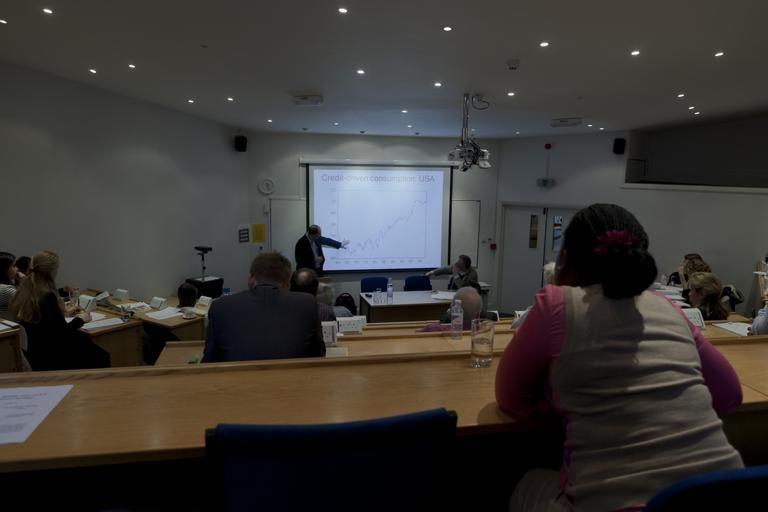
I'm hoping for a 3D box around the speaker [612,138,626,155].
[{"bbox_3d":[3.717,-1.733,7.655,0.169,0.246,0.081,3,1,33],"label":"speaker"}]

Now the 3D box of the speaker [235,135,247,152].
[{"bbox_3d":[-2.484,-1.945,8.378,0.277,0.350,0.180,-4,9,-27],"label":"speaker"}]

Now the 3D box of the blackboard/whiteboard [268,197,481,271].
[{"bbox_3d":[-0.080,-0.508,10.408,3.252,1.816,0.047,-1,-2,29],"label":"blackboard/whiteboard"}]
